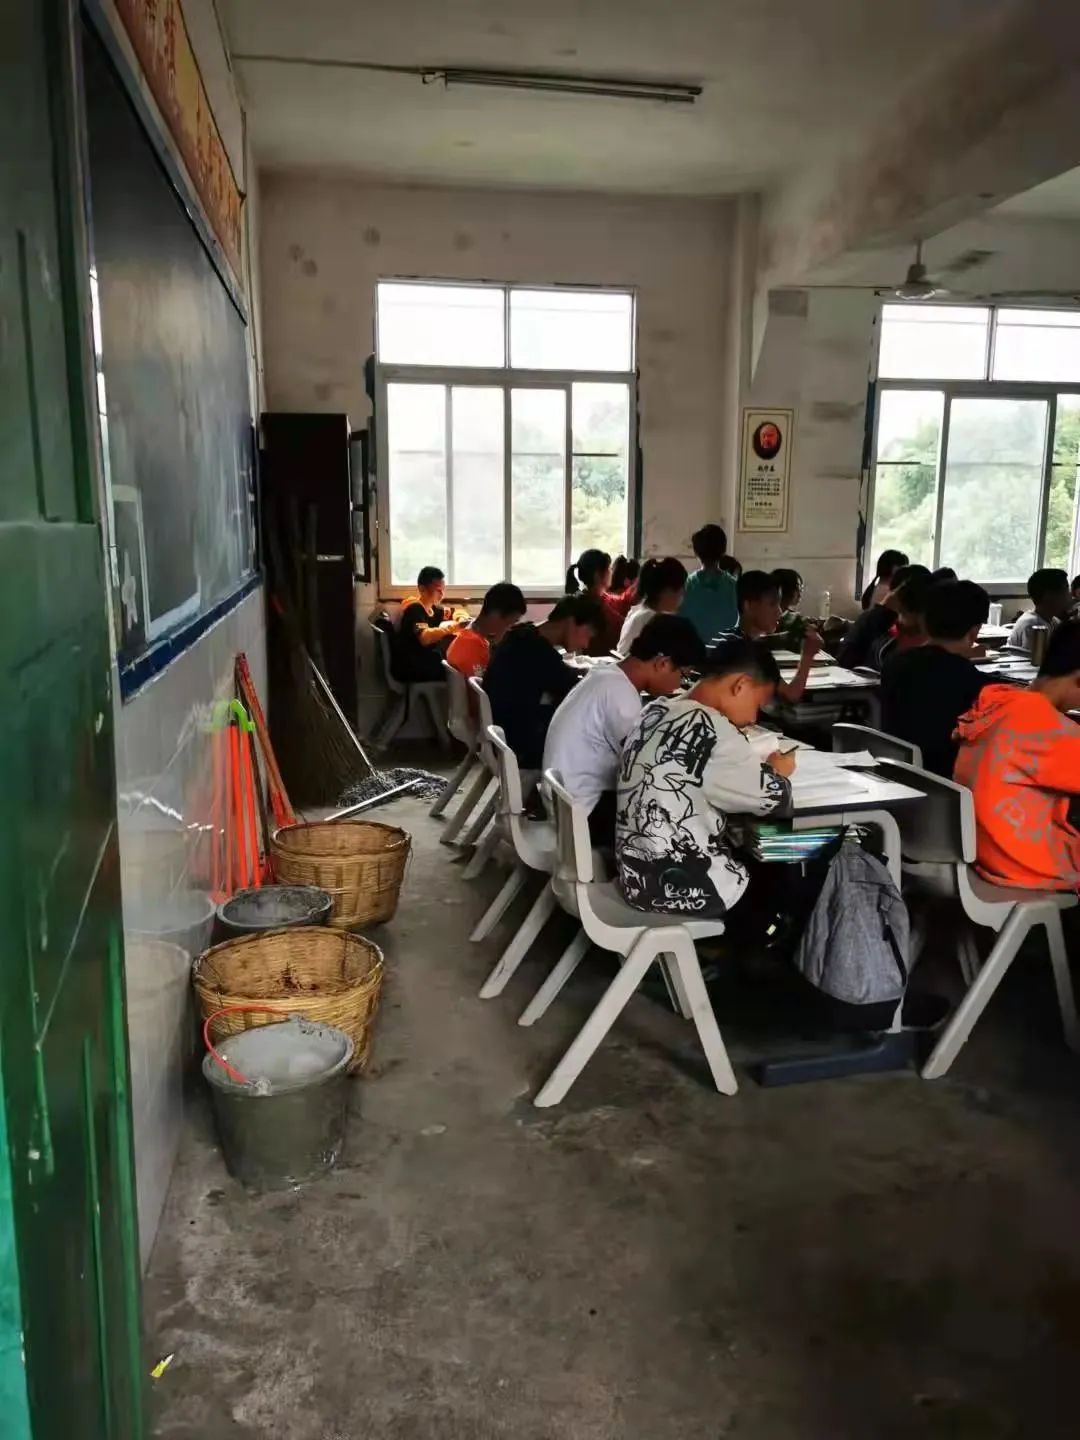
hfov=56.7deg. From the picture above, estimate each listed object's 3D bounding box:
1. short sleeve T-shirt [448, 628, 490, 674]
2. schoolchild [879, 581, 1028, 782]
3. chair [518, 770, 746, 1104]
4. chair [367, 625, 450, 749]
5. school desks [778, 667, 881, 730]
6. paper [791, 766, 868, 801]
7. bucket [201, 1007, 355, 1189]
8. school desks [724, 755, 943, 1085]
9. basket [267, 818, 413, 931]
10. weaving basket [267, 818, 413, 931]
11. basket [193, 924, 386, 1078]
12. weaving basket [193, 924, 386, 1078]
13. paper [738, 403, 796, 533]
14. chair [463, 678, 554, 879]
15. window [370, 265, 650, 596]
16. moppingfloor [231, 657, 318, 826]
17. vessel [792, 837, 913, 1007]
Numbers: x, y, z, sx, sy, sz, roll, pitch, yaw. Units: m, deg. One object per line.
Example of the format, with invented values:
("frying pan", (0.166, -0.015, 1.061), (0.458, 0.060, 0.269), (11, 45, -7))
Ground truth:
("short sleeve T-shirt", (-0.330, -0.322, 4.677), (0.126, 0.169, 0.228), (3, 22, -21))
("schoolchild", (1.401, 0.055, 3.414), (0.330, 1.117, 0.361), (-34, 39, -27))
("chair", (0.218, 0.531, 2.659), (0.528, 0.749, 0.601), (-1, 9, -6))
("chair", (-0.882, -0.250, 6.476), (0.542, 0.723, 0.491), (-7, 6, -31))
("school desks", (1.299, -0.107, 4.474), (0.295, 0.199, 0.380), (-5, 14, -14))
("paper", (0.740, 0.165, 2.556), (0.126, 0.019, 0.103), (-9, 21, -19))
("bucket", (-0.525, 0.803, 2.177), (0.314, 0.297, 0.327), (0, 15, 0))
("school desks", (0.691, 0.556, 2.867), (0.625, 0.817, 0.879), (-1, 8, -6))
("basket", (-0.717, 0.522, 3.577), (0.427, 0.275, 0.403), (-8, 14, -38))
("weaving basket", (-0.713, 0.519, 3.578), (0.427, 0.275, 0.403), (-8, 14, -38))
("basket", (-0.620, 0.675, 2.506), (0.393, 0.265, 0.343), (1, 17, -2))
("weaving basket", (-0.622, 0.683, 2.526), (0.393, 0.265, 0.343), (1, 17, -2))
("paper", (1.555, -1.791, 6.960), (0.391, 0.764, 0.054), (-7, 20, -18))
("chair", (-0.105, 0.155, 3.642), (0.424, 0.528, 0.414), (5, 7, -20))
("window", (-0.213, -1.872, 6.746), (1.820, 2.002, 0.085), (-4, 17, -13))
("moppingfloor", (-1.131, 0.031, 4.066), (0.206, 0.882, 0.195), (-16, 5, -26))
("vessel", (0.798, 0.491, 2.558), (0.265, 0.388, 0.419), (1, 7, 5))
